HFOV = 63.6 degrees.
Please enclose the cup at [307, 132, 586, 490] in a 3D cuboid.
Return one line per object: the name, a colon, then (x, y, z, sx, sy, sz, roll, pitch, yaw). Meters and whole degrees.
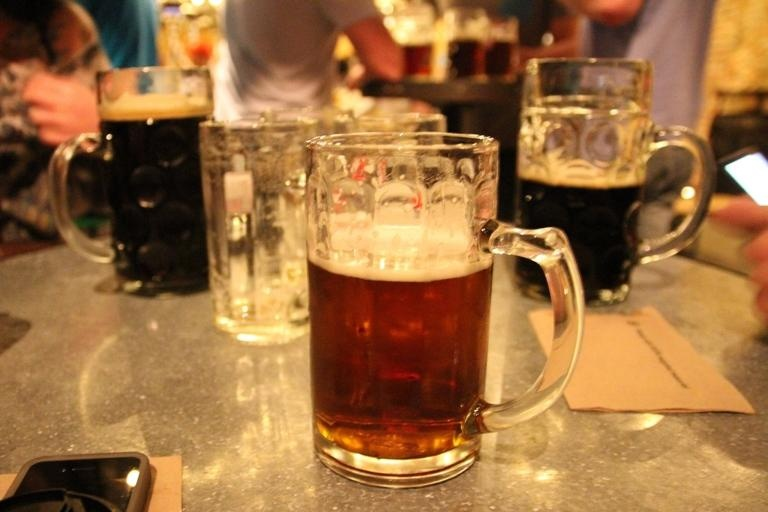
cup: (0.058, 0.053, 0.735, 0.311, 0.375, 0.214, -5, 23, -8)
